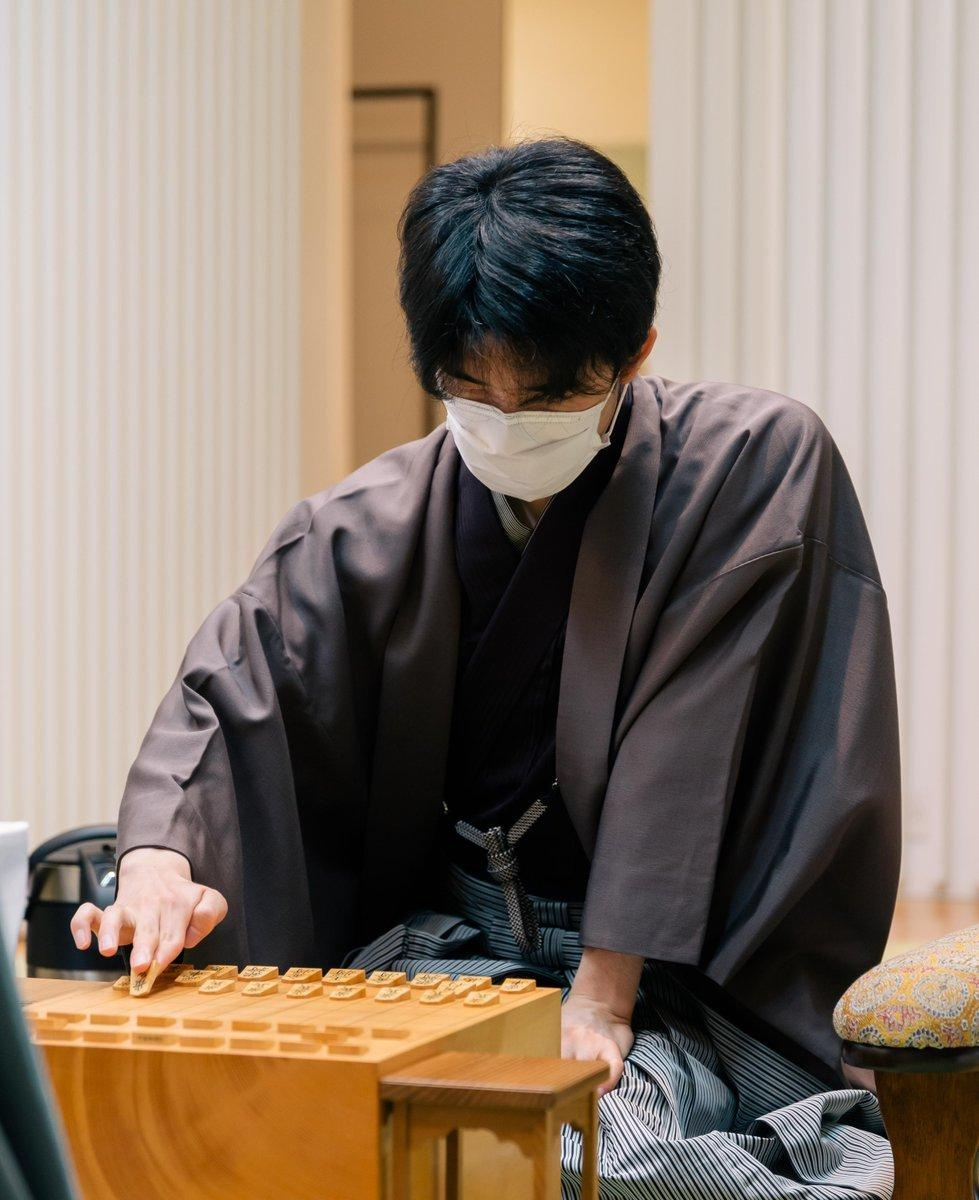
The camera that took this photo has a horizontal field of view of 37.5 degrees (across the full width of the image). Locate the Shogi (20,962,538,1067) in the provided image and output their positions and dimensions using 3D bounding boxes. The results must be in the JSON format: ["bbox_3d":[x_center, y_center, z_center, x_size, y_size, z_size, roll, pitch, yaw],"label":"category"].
[{"bbox_3d":[-0.148,0.294,1.018,0.190,0.043,0.128,-1,-4,18],"label":"Shogi"}]

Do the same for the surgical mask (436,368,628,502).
[{"bbox_3d":[0.038,-0.151,1.437,0.157,0.099,0.136,0,6,2],"label":"surgical mask"}]
